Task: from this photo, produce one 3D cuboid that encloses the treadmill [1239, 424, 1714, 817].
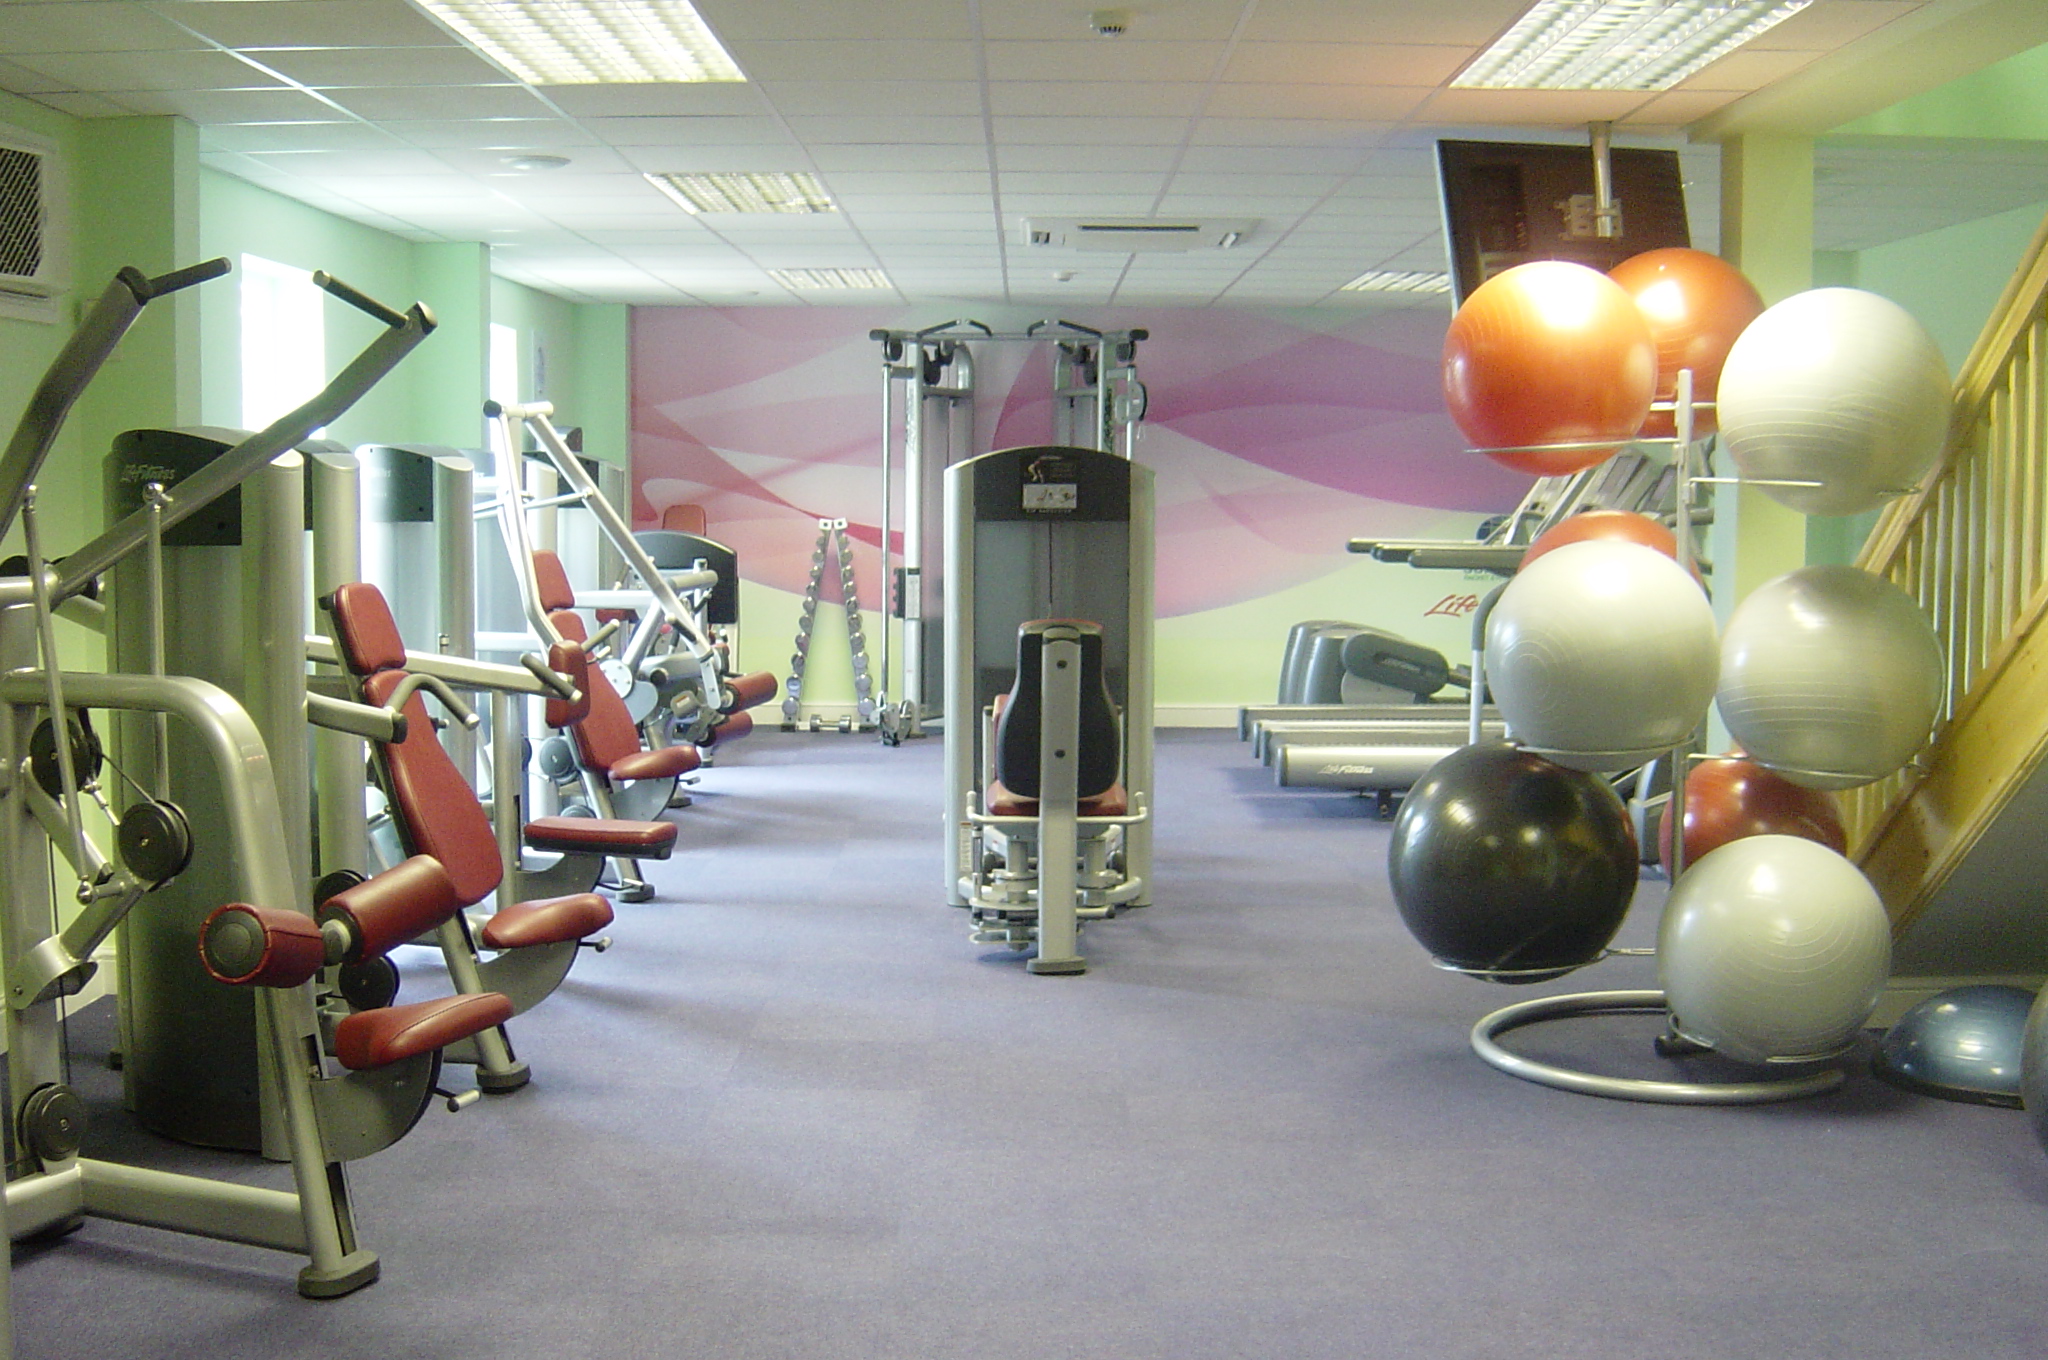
[{"bbox_3d":[2.379,-0.320,8.458,3.118,1.775,1.799,1,5,0],"label":"treadmill"}]
